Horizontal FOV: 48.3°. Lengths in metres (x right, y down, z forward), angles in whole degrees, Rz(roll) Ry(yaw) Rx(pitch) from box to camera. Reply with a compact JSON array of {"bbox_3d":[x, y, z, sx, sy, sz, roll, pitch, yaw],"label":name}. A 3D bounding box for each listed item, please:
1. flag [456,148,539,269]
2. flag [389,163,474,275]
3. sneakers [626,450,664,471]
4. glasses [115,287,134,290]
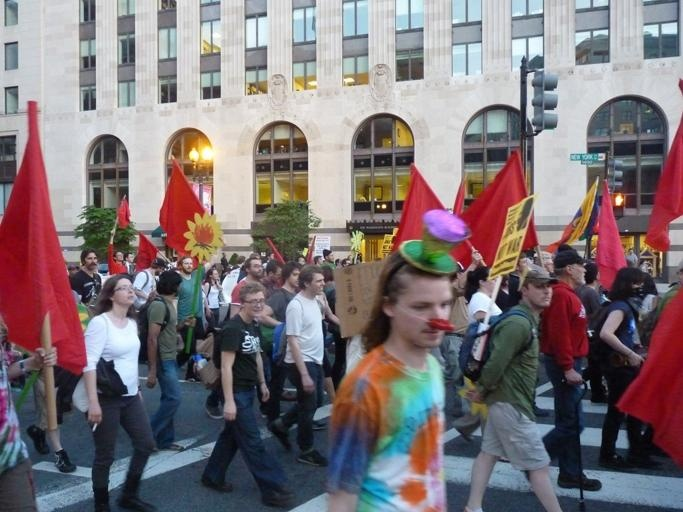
[{"bbox_3d":[2.602,-0.917,12.408,1.452,2.084,0.150,9,-27,19],"label":"flag"},{"bbox_3d":[1.481,-0.949,12.759,1.511,3.064,0.200,2,41,12],"label":"flag"},{"bbox_3d":[4.405,2.980,11.130,0.549,0.256,0.211,0,-3,7],"label":"sneakers"},{"bbox_3d":[-2.884,0.414,10.113,0.186,0.055,0.055,0,2,-29],"label":"glasses"}]
